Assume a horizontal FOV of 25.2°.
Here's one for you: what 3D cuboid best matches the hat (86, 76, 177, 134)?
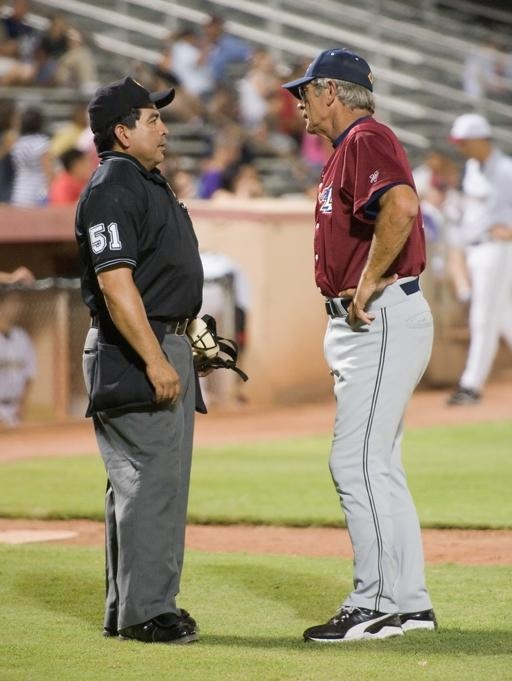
[{"bbox_3d":[-0.401,-0.787,3.725,0.289,0.115,0.166,-20,1,-5],"label":"hat"}]

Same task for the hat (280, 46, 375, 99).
[{"bbox_3d":[0.238,-0.916,3.867,0.282,0.128,0.178,3,4,6],"label":"hat"}]

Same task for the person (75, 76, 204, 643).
[{"bbox_3d":[-0.377,0.078,3.708,0.464,1.829,0.653,4,12,-9],"label":"person"}]

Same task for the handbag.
[{"bbox_3d":[-0.441,0.140,3.660,0.276,0.228,0.080,0,-16,-11],"label":"handbag"}]

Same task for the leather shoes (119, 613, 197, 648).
[{"bbox_3d":[-0.332,0.924,3.662,0.258,0.096,0.096,-5,0,14],"label":"leather shoes"}]

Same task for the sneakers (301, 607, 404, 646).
[{"bbox_3d":[0.322,0.904,3.615,0.341,0.118,0.112,2,-13,-10],"label":"sneakers"}]

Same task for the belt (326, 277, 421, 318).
[{"bbox_3d":[0.388,-0.142,3.764,0.242,0.070,0.155,-10,-9,-9],"label":"belt"}]

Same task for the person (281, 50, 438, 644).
[{"bbox_3d":[0.387,-0.005,3.758,0.576,1.881,0.736,4,12,-8],"label":"person"}]
